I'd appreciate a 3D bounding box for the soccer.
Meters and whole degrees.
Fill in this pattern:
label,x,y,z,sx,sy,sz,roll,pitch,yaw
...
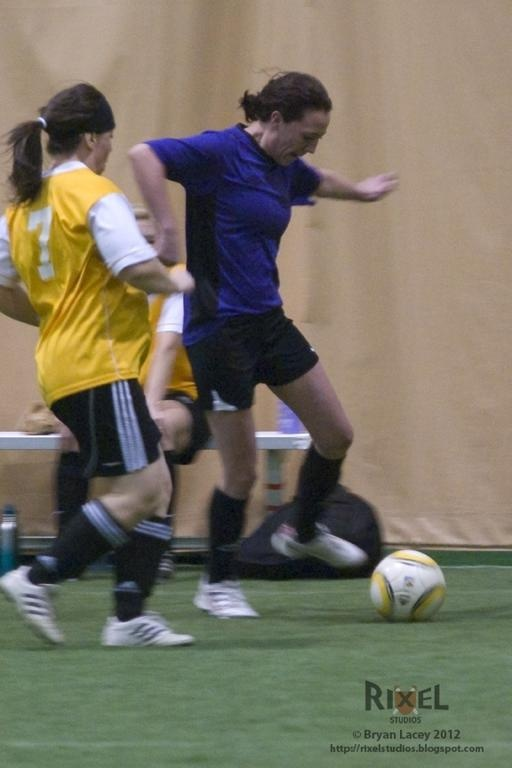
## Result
label,x,y,z,sx,sy,sz,roll,pitch,yaw
soccer,0.351,0.485,2.865,0.144,0.194,0.131,-29,38,-34

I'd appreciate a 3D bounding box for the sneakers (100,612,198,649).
label,x,y,z,sx,sy,sz,roll,pitch,yaw
sneakers,-0.235,0.519,2.596,0.223,0.067,0.067,1,-4,-7

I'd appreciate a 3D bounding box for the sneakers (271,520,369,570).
label,x,y,z,sx,sy,sz,roll,pitch,yaw
sneakers,0.197,0.470,3.474,0.315,0.124,0.117,14,3,-26
